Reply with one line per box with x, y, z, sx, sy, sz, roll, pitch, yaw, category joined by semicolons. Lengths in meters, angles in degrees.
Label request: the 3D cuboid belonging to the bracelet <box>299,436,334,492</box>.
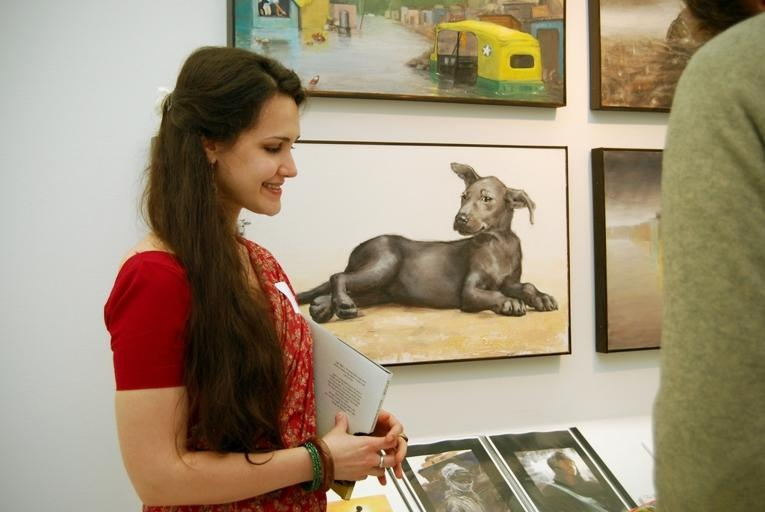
-0.180;0.629;1.951;0.060;0.142;0.113;-5;5;-28;bracelet
